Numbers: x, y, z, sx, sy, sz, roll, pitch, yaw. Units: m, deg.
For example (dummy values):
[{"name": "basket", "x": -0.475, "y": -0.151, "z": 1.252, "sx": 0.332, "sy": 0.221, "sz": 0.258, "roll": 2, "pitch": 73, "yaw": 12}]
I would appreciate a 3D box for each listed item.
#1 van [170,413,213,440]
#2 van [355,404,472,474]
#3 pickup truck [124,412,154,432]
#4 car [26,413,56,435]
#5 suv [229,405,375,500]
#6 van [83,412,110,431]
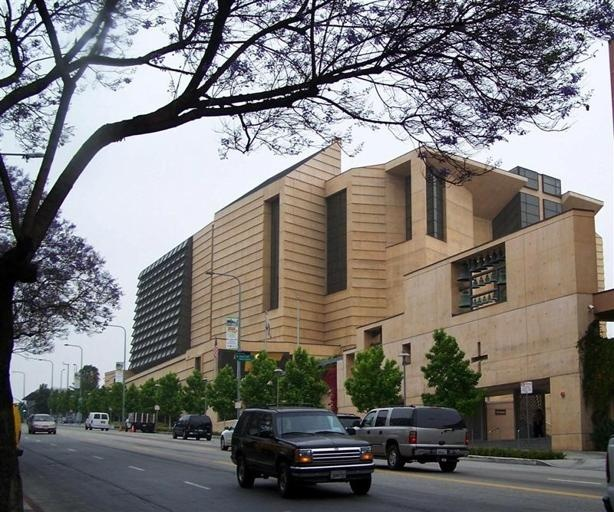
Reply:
[{"name": "van", "x": -8.521, "y": 12.428, "z": 59.799, "sx": 1.869, "sy": 1.432, "sz": 3.053, "roll": 5, "pitch": -9, "yaw": -23}, {"name": "van", "x": 3.171, "y": 5.637, "z": 25.754, "sx": 1.989, "sy": 1.419, "sz": 3.603, "roll": 5, "pitch": -10, "yaw": -23}, {"name": "pickup truck", "x": -17.291, "y": 17.148, "z": 84.071, "sx": 1.876, "sy": 1.568, "sz": 3.118, "roll": 4, "pitch": -15, "yaw": -21}, {"name": "car", "x": -20.539, "y": 12.916, "z": 62.836, "sx": 1.542, "sy": 1.259, "sz": 3.603, "roll": 4, "pitch": -19, "yaw": -21}, {"name": "suv", "x": -0.213, "y": 4.479, "z": 18.786, "sx": 1.755, "sy": 1.461, "sz": 3.161, "roll": 6, "pitch": -18, "yaw": -26}, {"name": "van", "x": -21.002, "y": 16.707, "z": 81.349, "sx": 1.911, "sy": 1.556, "sz": 3.292, "roll": 3, "pitch": -6, "yaw": -27}]
